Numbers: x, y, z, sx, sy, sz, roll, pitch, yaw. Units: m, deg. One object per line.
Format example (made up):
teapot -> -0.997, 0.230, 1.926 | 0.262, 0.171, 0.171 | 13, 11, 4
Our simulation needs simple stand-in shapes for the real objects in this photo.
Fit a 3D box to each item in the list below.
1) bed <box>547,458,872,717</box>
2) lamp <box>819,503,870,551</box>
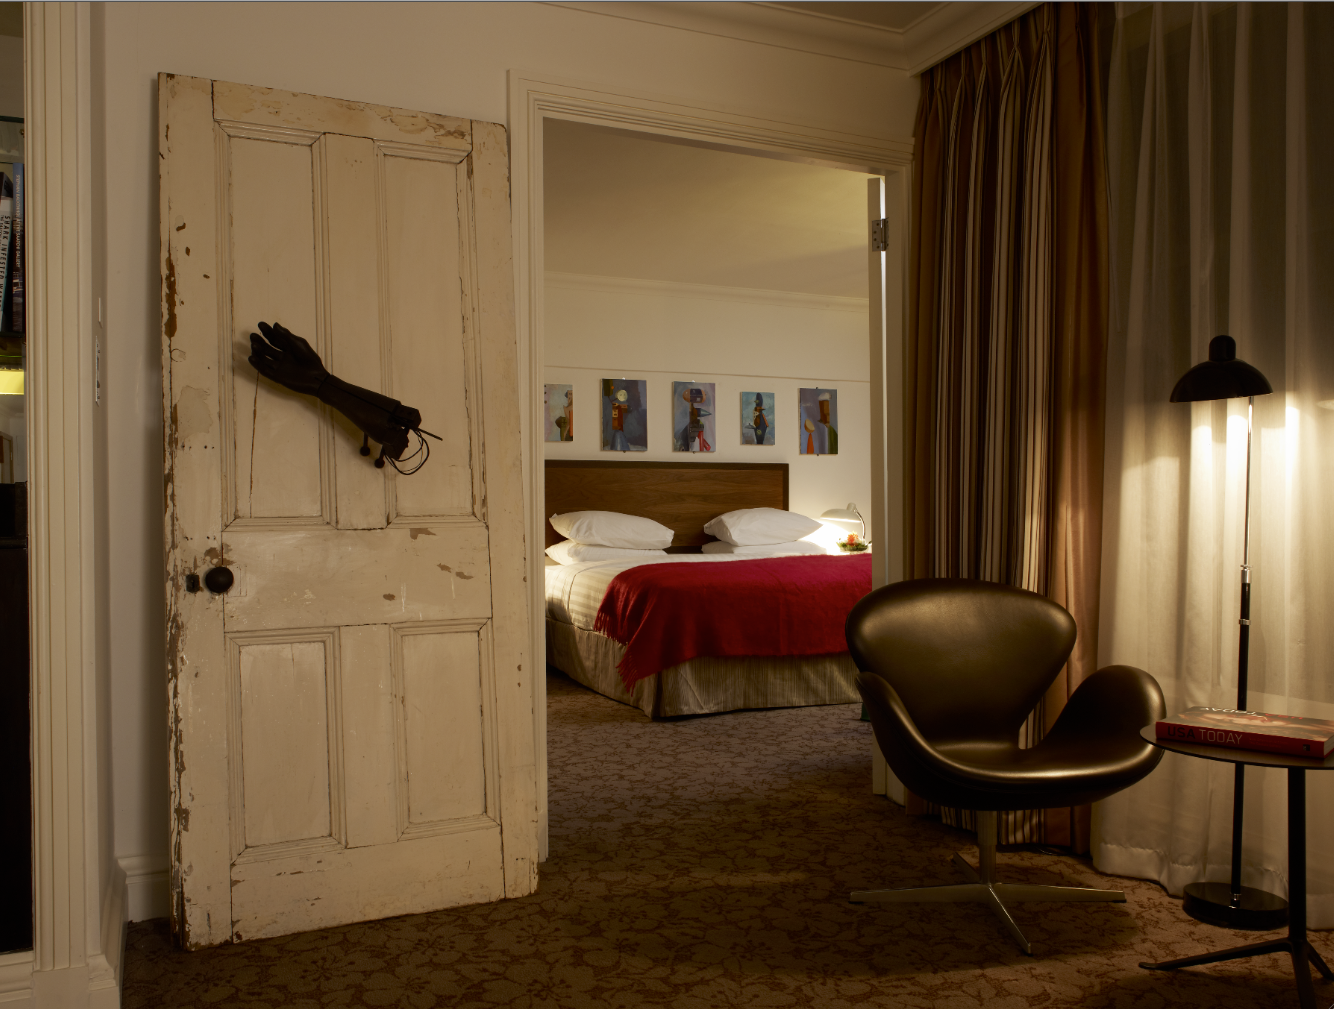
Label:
bed -> 0.214, 0.366, 7.106 | 1.871, 1.266, 2.494 | -2, 6, -12
lamp -> 1.300, 0.158, 8.387 | 0.233, 0.278, 0.377 | -2, -2, 35
